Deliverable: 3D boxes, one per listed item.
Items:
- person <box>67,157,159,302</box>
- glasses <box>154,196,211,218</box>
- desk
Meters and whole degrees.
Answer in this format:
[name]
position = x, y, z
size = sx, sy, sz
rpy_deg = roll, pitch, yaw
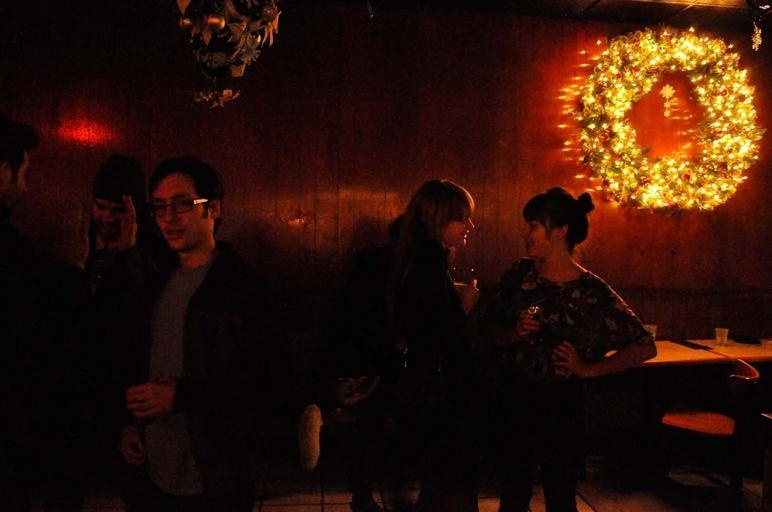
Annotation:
[person]
position = -1.715, -0.199, 4.360
size = 0.659, 0.827, 0.334
rpy_deg = 1, 4, 6
[glasses]
position = -1.326, -0.317, 4.318
size = 0.367, 0.125, 0.035
rpy_deg = 1, 4, 2
[desk]
position = 2.147, 0.877, 4.734
size = 0.765, 0.318, 0.394
rpy_deg = -3, 0, -11
